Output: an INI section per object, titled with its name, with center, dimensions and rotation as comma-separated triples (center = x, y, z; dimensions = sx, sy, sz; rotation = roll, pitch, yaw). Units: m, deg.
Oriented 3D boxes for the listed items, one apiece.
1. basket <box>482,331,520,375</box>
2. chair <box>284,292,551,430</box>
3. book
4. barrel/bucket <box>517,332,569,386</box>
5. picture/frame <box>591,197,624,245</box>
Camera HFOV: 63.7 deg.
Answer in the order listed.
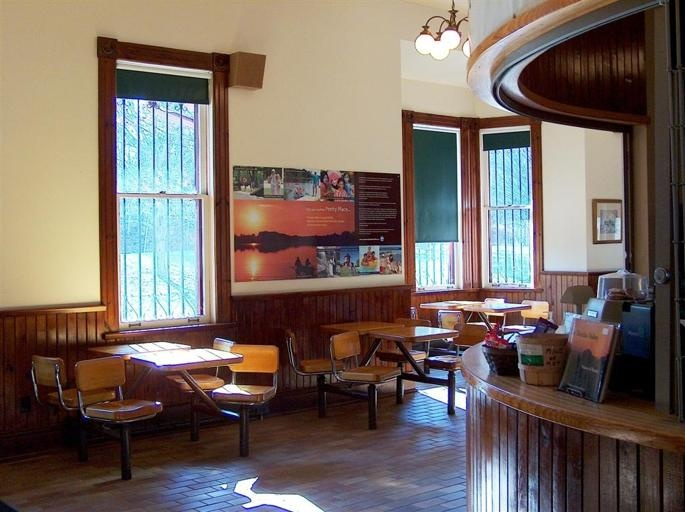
[basket]
center = 0.885, 0.557, 3.122
dimensions = 0.215, 0.105, 0.193
rotation = 0, 1, 28
[chair]
center = 0.401, 1.391, 6.839
dimensions = 2.170, 0.815, 1.417
rotation = -1, 1, -24
[book]
center = 1.185, 0.492, 2.637
dimensions = 0.074, 0.330, 0.297
rotation = 10, 2, -19
[barrel/bucket]
center = 1.071, 0.551, 2.926
dimensions = 0.299, 0.245, 0.304
rotation = 1, -2, 0
[picture/frame]
center = 4.727, -0.622, 9.907
dimensions = 0.820, 0.867, 0.061
rotation = 0, -2, -34
